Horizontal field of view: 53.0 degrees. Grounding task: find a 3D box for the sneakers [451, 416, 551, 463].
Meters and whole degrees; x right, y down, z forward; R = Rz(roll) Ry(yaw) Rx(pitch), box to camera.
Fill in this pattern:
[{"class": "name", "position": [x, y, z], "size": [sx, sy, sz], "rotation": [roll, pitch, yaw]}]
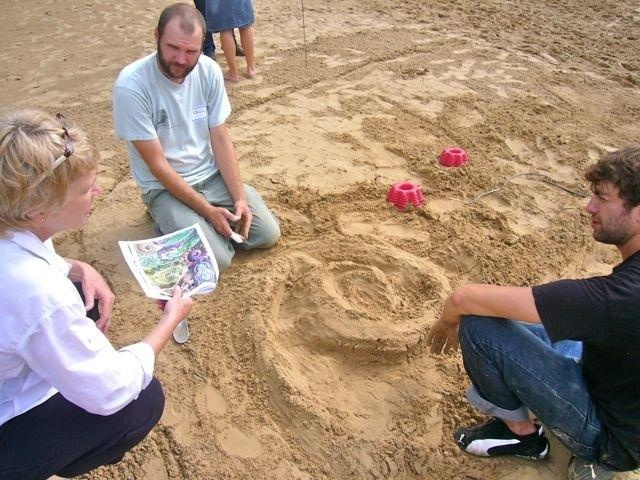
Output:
[{"class": "sneakers", "position": [1.193, 1.286, 4.297], "size": [0.638, 0.226, 0.219], "rotation": [2, 16, 16]}]
